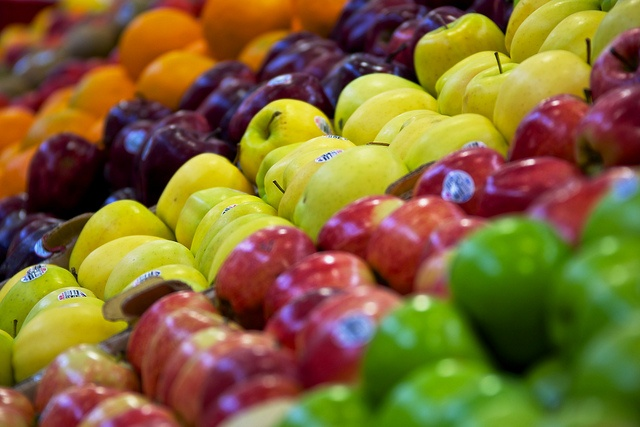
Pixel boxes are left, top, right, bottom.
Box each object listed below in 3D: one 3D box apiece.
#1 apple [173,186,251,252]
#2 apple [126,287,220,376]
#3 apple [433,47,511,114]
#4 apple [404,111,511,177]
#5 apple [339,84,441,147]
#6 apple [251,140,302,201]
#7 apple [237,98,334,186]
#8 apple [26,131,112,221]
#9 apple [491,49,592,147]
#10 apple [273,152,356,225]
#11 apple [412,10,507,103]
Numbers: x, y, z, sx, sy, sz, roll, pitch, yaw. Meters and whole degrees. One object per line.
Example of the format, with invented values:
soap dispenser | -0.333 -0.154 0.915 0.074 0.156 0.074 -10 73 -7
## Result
apple | -0.389 -0.018 1.841 0.189 0.211 0.208 -7 56 -11
apple | -0.322 0.243 1.203 0.171 0.145 0.173 -62 4 29
apple | 0.495 -0.434 1.740 0.247 0.243 0.225 3 20 25
apple | 0.371 -0.208 1.468 0.218 0.199 0.185 -20 11 -12
apple | 0.230 -0.346 1.830 0.273 0.198 0.169 -33 21 0
apple | -0.159 -0.185 1.877 0.202 0.160 0.180 -42 16 1
apple | -0.149 -0.317 2.021 0.287 0.303 0.277 -15 -19 -48
apple | -1.273 -0.197 2.691 0.321 0.426 0.331 7 6 45
apple | 0.622 -0.274 1.520 0.278 0.244 0.223 -40 33 -25
apple | -0.034 -0.068 1.621 0.210 0.203 0.179 -11 20 -14
apple | 0.482 -0.599 2.003 0.259 0.325 0.274 -39 2 16
